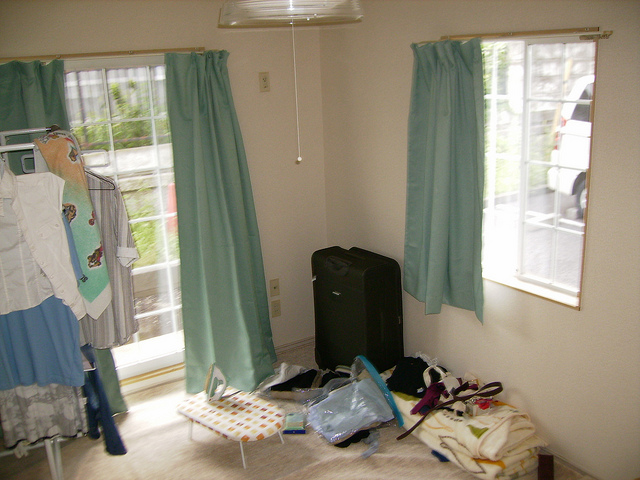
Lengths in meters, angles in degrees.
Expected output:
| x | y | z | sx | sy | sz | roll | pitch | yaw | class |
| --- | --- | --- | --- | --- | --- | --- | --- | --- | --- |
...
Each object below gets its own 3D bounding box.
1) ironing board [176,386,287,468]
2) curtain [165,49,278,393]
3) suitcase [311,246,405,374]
| x | y | z | sx | sy | sz | roll | pitch | yaw | class |
| --- | --- | --- | --- | --- | --- | --- | --- | --- | --- |
| -0.547 | 1.137 | 3.159 | 0.693 | 0.215 | 0.470 | 8 | 11 | 34 | ironing board |
| -0.701 | -0.171 | 3.548 | 0.644 | 2.242 | 0.354 | -4 | 27 | -4 | curtain |
| 0.210 | 0.464 | 3.515 | 0.443 | 0.889 | 0.597 | -7 | 16 | -26 | suitcase |
